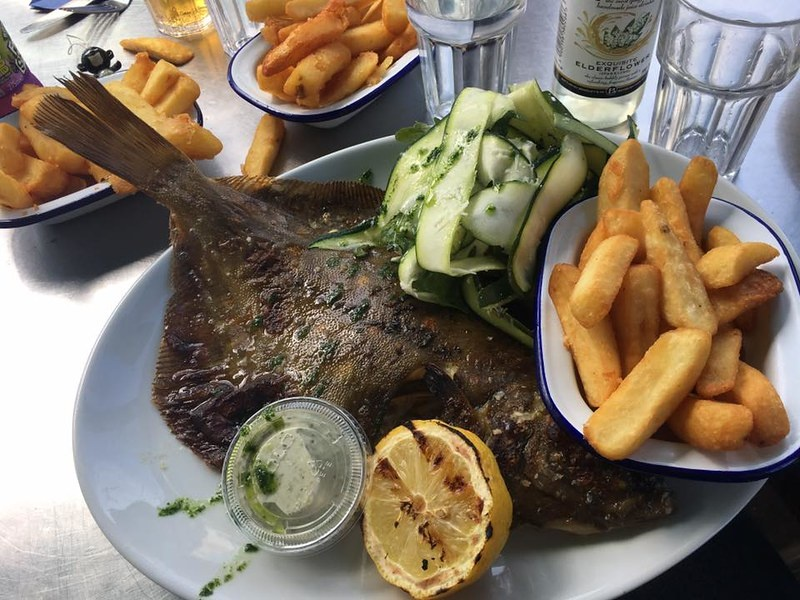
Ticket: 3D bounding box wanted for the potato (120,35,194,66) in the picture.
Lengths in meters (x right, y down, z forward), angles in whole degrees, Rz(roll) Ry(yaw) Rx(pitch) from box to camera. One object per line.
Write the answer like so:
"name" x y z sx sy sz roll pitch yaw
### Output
"potato" -0.703 -0.742 2.048 0.219 0.055 0.111 14 39 2
